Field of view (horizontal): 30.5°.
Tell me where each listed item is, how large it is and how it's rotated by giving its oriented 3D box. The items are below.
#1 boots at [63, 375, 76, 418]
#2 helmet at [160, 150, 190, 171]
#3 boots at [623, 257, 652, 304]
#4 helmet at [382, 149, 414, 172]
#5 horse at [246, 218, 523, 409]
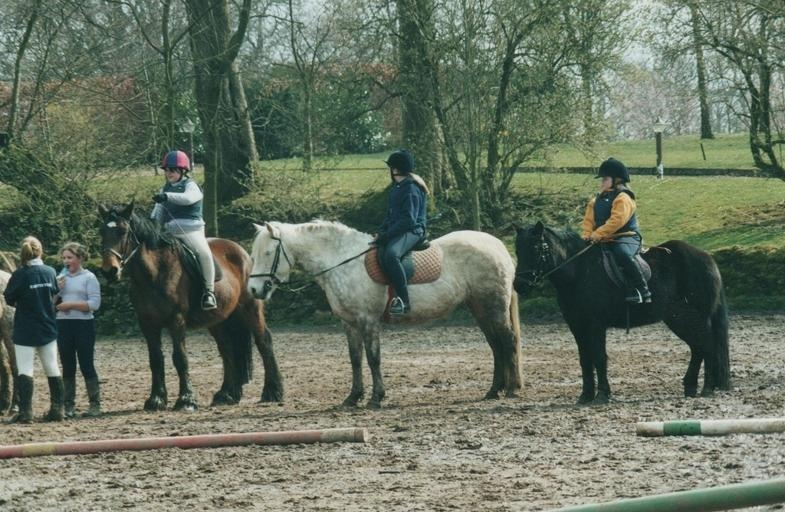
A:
[{"bbox_3d":[-8.015,3.479,35.678,0.294,0.855,0.396,-4,2,-13],"label":"boots"},{"bbox_3d":[-5.498,-2.374,36.287,0.673,0.347,0.480,8,2,5],"label":"helmet"},{"bbox_3d":[5.986,0.622,35.191,0.612,1.142,0.427,1,-5,14],"label":"boots"},{"bbox_3d":[0.110,-2.342,35.904,0.492,0.406,0.633,-15,38,-37],"label":"helmet"},{"bbox_3d":[0.004,1.538,36.420,7.009,4.518,1.680,-1,0,-10],"label":"horse"}]
